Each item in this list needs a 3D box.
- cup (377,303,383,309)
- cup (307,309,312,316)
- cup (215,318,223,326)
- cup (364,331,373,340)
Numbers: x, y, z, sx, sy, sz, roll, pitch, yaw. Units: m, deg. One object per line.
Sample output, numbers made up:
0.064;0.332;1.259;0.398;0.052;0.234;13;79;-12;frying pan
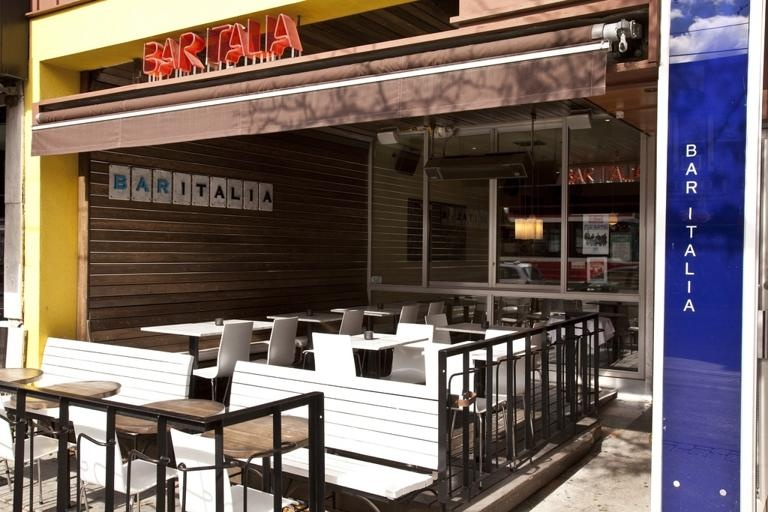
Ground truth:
-0.059;0.795;10.148;0.085;0.065;0.079;0;2;0;cup
-1.145;0.855;9.638;0.113;0.089;0.077;-1;-7;-5;cup
-2.136;0.849;8.172;0.092;0.078;0.092;-2;-5;0;cup
-0.183;0.954;7.655;0.098;0.068;0.095;-2;-2;0;cup
